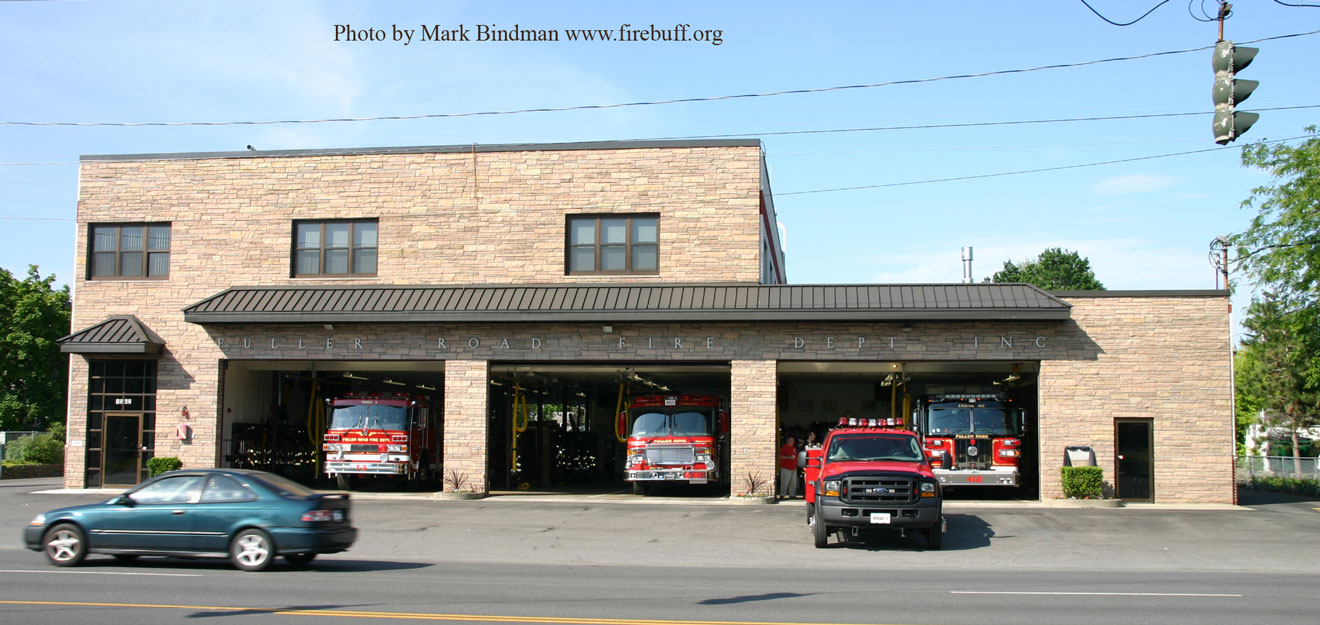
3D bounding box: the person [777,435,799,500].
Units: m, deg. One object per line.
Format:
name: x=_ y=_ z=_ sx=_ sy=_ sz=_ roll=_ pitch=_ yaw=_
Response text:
person: x=6.645 y=7.861 z=77.954 sx=1.081 sy=3.323 sz=1.463 roll=1 pitch=-12 yaw=4
